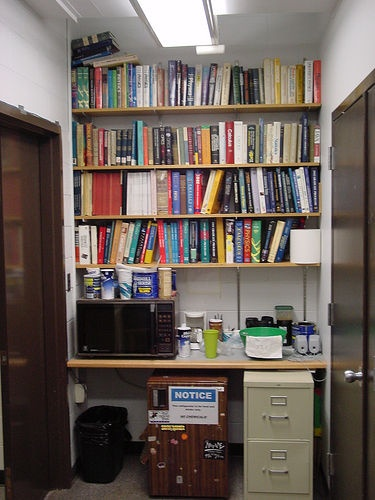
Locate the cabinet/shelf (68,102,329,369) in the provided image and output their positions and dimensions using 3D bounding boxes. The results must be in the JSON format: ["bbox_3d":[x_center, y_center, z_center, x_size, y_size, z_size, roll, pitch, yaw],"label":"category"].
[{"bbox_3d":[0.053,-0.120,2.789,1.538,1.523,0.510,0,-4,1],"label":"cabinet/shelf"}]

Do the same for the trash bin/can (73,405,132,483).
[{"bbox_3d":[-0.497,1.132,2.849,0.311,0.368,0.447,0,-2,2],"label":"trash bin/can"}]

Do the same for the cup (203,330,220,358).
[{"bbox_3d":[0.135,0.528,2.636,0.126,0.174,0.130,0,0,0],"label":"cup"}]

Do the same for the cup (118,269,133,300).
[{"bbox_3d":[-0.363,0.195,2.718,0.136,0.194,0.139,-1,-4,0],"label":"cup"}]

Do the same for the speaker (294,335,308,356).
[{"bbox_3d":[0.654,0.539,2.713,0.081,0.118,0.155,-1,0,7],"label":"speaker"}]

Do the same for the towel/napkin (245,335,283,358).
[{"bbox_3d":[0.423,0.533,2.589,0.194,0.125,0.041,-1,-1,14],"label":"towel/napkin"}]

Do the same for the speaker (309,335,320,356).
[{"bbox_3d":[0.736,0.547,2.698,0.076,0.111,0.044,-1,-1,1],"label":"speaker"}]

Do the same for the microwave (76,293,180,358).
[{"bbox_3d":[-0.350,0.442,2.657,0.516,0.348,0.335,0,-4,2],"label":"microwave"}]
